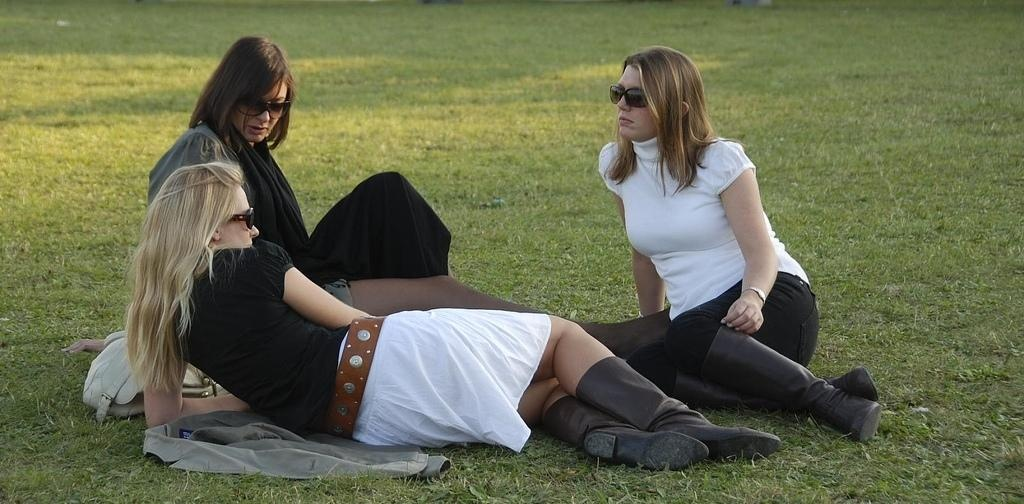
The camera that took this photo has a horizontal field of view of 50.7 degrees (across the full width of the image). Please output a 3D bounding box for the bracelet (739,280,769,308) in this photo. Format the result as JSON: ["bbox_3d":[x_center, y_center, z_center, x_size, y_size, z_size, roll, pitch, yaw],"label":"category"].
[{"bbox_3d":[2.681,0.442,11.892,0.242,0.104,0.265,3,19,-46],"label":"bracelet"}]

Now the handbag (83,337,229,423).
[{"bbox_3d":[-4.092,1.467,12.059,1.239,0.975,0.561,5,-21,-8],"label":"handbag"}]
